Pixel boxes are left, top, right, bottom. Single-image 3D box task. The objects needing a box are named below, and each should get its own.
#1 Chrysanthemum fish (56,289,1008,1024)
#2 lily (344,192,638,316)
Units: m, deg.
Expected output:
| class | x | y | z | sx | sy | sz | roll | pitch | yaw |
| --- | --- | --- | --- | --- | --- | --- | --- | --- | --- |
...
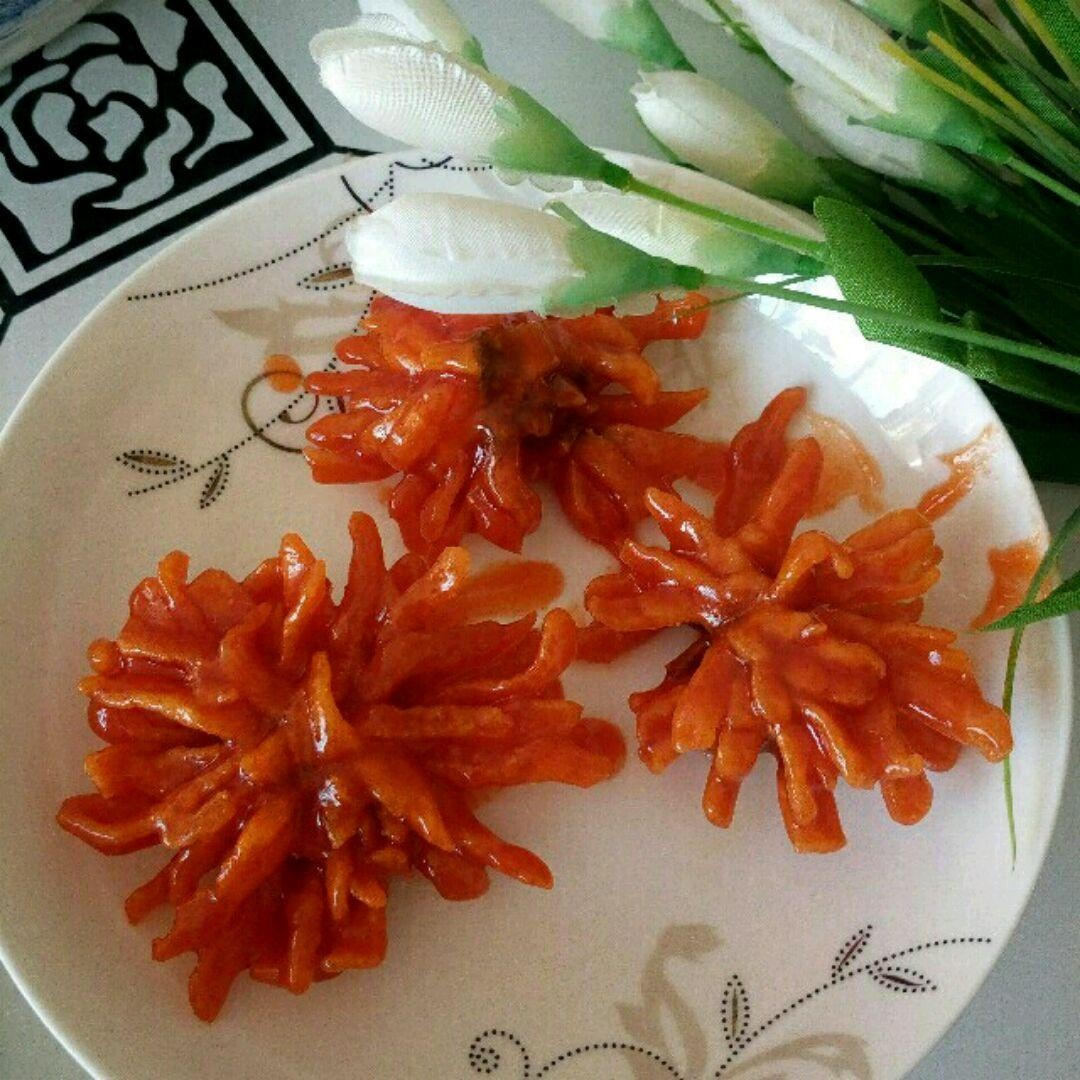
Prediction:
| class | x | y | z | sx | sy | sz | roll | pitch | yaw |
| --- | --- | --- | --- | --- | --- | --- | --- | --- | --- |
| Chrysanthemum fish | -0.023 | 0.045 | 0.881 | 0.564 | 0.294 | 0.416 | -12 | 50 | -23 |
| lily | -0.020 | -0.134 | 0.687 | 0.131 | 0.044 | 0.057 | 7 | 85 | 7 |
